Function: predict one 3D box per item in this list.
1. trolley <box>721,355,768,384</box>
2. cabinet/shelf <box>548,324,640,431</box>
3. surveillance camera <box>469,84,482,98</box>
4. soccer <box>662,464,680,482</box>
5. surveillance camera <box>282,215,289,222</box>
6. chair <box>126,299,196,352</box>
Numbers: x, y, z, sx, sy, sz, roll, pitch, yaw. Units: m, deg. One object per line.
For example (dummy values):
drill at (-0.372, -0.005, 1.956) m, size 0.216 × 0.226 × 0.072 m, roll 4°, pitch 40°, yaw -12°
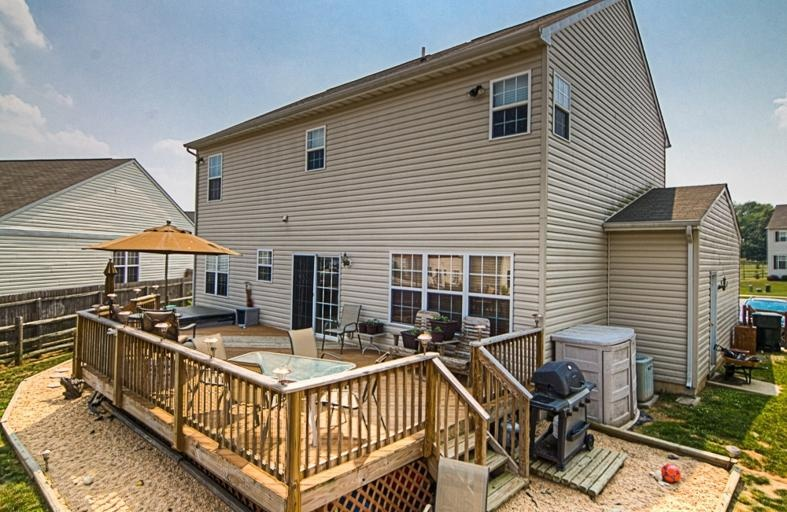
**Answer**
trolley at (11.422, 3.572, 15.919) m, size 1.090 × 0.697 × 0.994 m, roll -8°, pitch -5°, yaw 38°
cabinet/shelf at (5.302, 3.237, 13.695) m, size 2.309 × 2.895 × 3.094 m, roll -3°, pitch -1°, yaw 38°
surveillance camera at (2.300, -4.647, 13.761) m, size 0.419 × 0.243 × 0.127 m, roll 3°, pitch -2°, yaw 20°
soccer at (6.596, 5.141, 11.593) m, size 0.461 × 0.382 × 0.273 m, roll 4°, pitch -2°, yaw -29°
surveillance camera at (-3.910, -1.360, 17.495) m, size 0.198 × 0.200 × 0.220 m, roll -2°, pitch -11°, yaw 18°
chair at (-6.387, 1.909, 13.367) m, size 1.113 × 1.574 × 1.121 m, roll 8°, pitch 6°, yaw 1°
